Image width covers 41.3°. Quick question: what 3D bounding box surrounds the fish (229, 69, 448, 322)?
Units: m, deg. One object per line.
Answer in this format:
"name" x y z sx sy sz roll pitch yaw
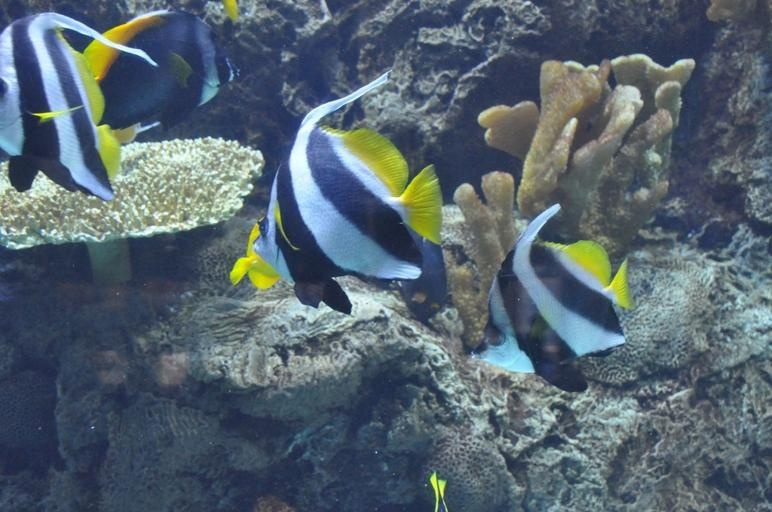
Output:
"fish" -0.259 -0.256 6.345 1.167 1.113 0.633 19 39 10
